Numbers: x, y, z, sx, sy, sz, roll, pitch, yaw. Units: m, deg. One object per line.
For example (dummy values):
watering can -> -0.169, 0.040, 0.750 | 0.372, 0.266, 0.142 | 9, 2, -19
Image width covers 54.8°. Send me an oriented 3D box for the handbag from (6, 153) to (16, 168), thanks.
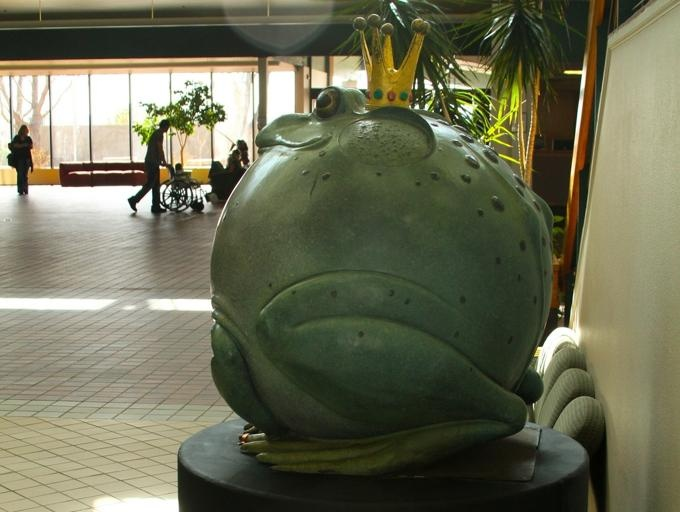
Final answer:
handbag -> -9.655, -2.829, 19.271 | 0.190, 0.461, 0.938 | -5, 11, -29
